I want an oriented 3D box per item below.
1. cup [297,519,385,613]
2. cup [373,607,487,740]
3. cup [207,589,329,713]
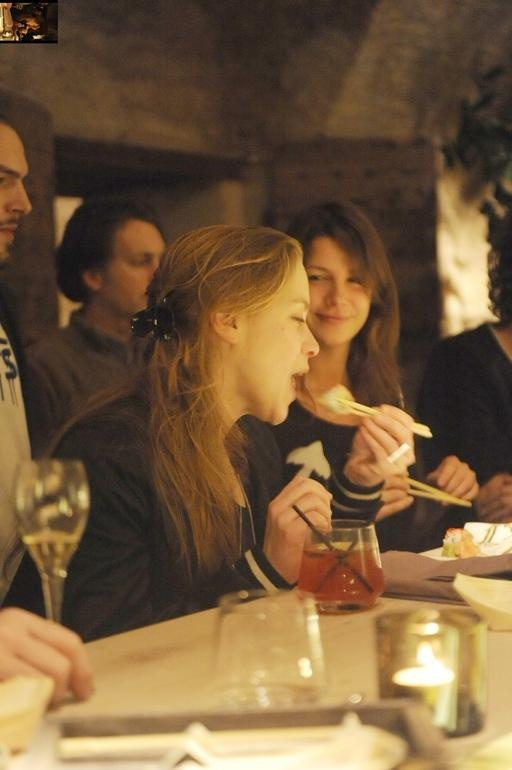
[{"bbox_3d":[0.123,0.270,1.250,0.151,0.109,0.131,-1,-3,-8],"label":"cup"},{"bbox_3d":[0.180,0.286,0.843,0.131,0.113,0.114,0,-2,1],"label":"cup"},{"bbox_3d":[0.012,0.275,0.881,0.123,0.089,0.121,-2,-5,0],"label":"cup"}]
